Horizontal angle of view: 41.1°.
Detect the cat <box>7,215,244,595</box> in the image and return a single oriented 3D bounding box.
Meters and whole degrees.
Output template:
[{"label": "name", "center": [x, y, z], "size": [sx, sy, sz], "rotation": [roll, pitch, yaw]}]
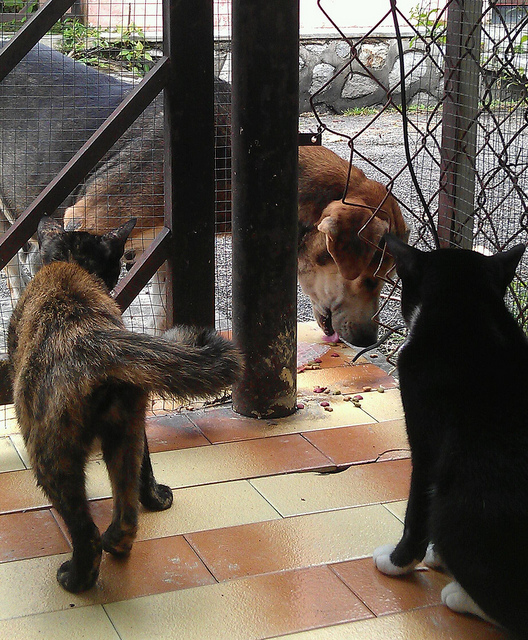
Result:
[{"label": "cat", "center": [-0.502, 0.162, 2.370], "size": [0.617, 0.799, 1.368], "rotation": [2, 29, -24]}]
